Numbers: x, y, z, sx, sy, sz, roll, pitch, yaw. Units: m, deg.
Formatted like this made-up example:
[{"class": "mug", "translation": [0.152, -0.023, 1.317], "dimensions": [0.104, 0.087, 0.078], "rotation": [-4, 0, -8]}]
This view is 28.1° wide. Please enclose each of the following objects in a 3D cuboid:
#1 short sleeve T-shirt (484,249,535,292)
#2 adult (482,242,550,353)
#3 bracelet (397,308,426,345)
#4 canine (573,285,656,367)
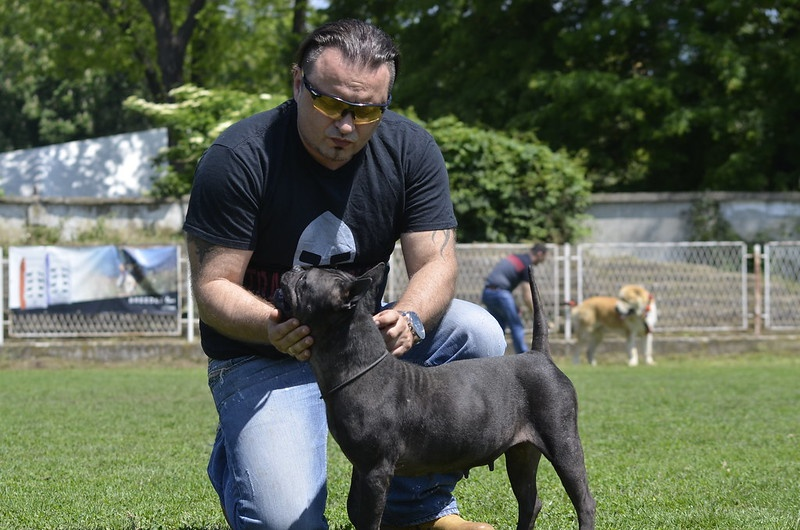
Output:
[{"class": "short sleeve T-shirt", "translation": [1.018, 0.048, 14.725], "dimensions": [0.163, 0.290, 0.295], "rotation": [38, -4, -26]}, {"class": "adult", "translation": [1.095, 0.387, 15.411], "dimensions": [0.572, 1.264, 0.523], "rotation": [7, 16, 16]}, {"class": "bracelet", "translation": [0.100, 0.393, 10.466], "dimensions": [0.187, 0.204, 0.129], "rotation": [-31, -4, 40]}, {"class": "canine", "translation": [1.681, 0.476, 12.493], "dimensions": [0.284, 0.590, 0.974], "rotation": [-3, -2, -41]}]
